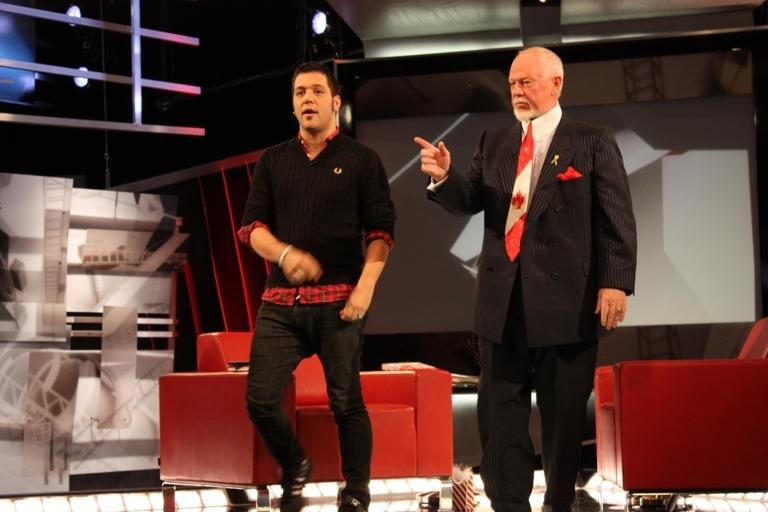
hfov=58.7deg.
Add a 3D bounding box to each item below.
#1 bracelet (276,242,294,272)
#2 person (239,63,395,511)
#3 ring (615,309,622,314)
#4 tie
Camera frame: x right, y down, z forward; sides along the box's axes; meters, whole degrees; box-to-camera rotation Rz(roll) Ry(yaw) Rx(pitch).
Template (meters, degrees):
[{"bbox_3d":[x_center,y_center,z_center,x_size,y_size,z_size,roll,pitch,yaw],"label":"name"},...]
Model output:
[{"bbox_3d":[-0.506,0.006,3.422,0.027,0.095,0.098,32,-29,-5],"label":"bracelet"},{"bbox_3d":[-0.356,0.139,3.553,0.804,2.285,0.346,2,-9,-12],"label":"person"},{"bbox_3d":[1.062,0.251,3.098,0.021,0.021,0.021,-3,0,0],"label":"ring"},{"bbox_3d":[0.641,-0.284,3.208,0.099,0.764,0.063,2,-26,23],"label":"tie"}]
